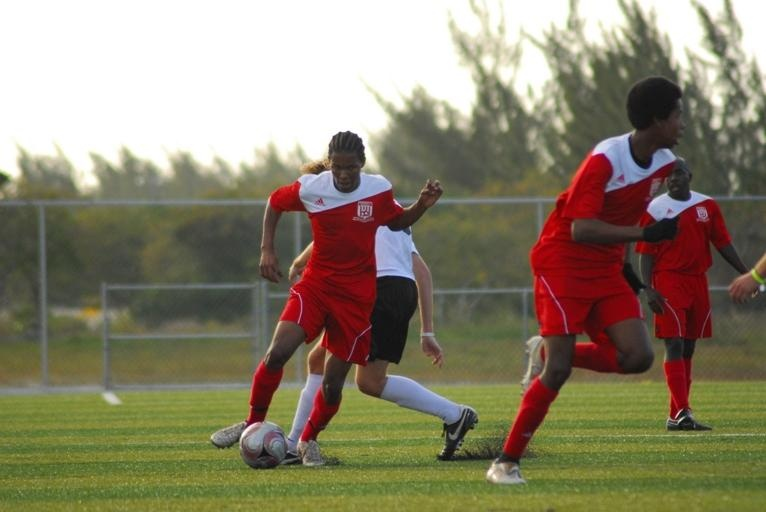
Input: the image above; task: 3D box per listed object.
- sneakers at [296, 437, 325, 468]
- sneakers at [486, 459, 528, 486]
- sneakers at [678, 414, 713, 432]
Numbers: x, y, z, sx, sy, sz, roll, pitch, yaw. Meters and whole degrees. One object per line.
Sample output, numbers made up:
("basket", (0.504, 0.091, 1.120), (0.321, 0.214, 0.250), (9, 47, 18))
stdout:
("sneakers", (-0.811, 2.212, 15.034), (0.207, 0.225, 0.331), (2, -3, -36))
("sneakers", (1.292, 2.302, 14.272), (0.382, 0.166, 0.214), (1, -3, 19))
("sneakers", (3.649, 2.004, 16.046), (0.499, 0.219, 0.161), (0, 0, -4))
